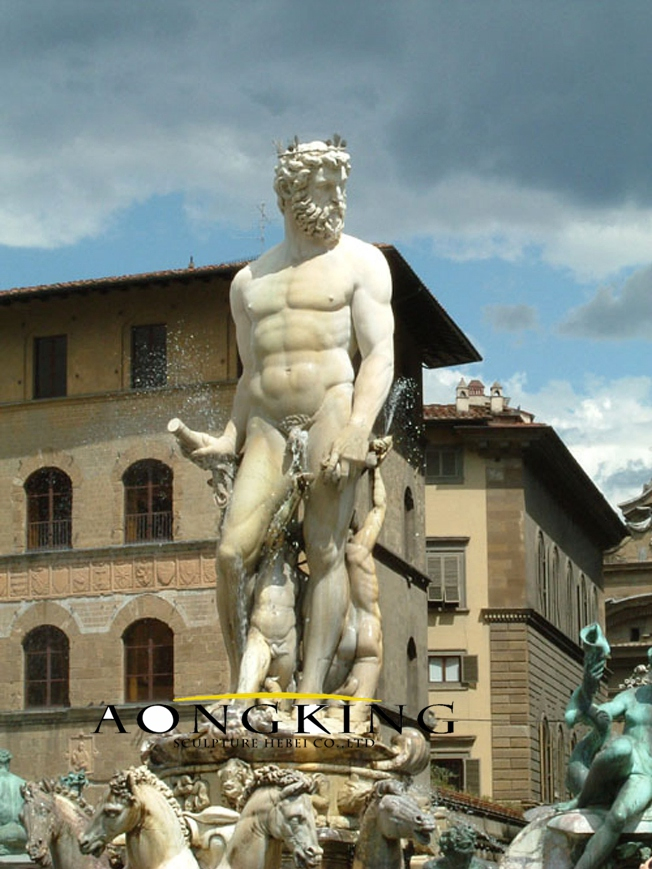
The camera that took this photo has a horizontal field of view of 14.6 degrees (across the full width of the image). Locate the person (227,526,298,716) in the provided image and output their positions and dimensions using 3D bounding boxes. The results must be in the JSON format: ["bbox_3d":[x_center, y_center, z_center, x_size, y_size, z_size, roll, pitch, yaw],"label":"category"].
[{"bbox_3d":[-0.316,1.030,13.791,0.241,0.945,0.571,-4,-10,20],"label":"person"}]

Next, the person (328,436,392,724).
[{"bbox_3d":[0.204,0.824,14.105,0.364,1.616,0.772,-1,-9,4],"label":"person"}]
